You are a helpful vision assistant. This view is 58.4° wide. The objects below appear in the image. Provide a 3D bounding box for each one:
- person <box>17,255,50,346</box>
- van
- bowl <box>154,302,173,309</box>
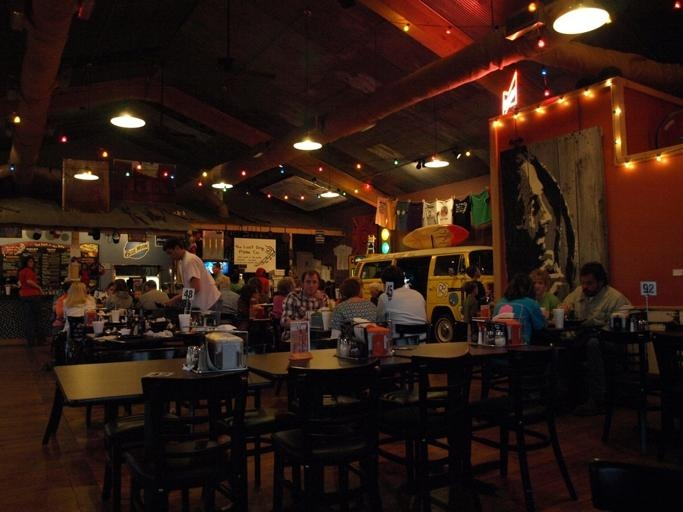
[{"bbox_3d":[-6.830,0.964,13.504,0.624,1.994,0.645,-5,0,16],"label":"person"},{"bbox_3d":[2.061,0.879,13.987,1.678,2.109,4.306,0,-2,-32],"label":"van"},{"bbox_3d":[-3.056,0.849,10.499,0.265,0.071,0.262,1,-3,0],"label":"bowl"}]
